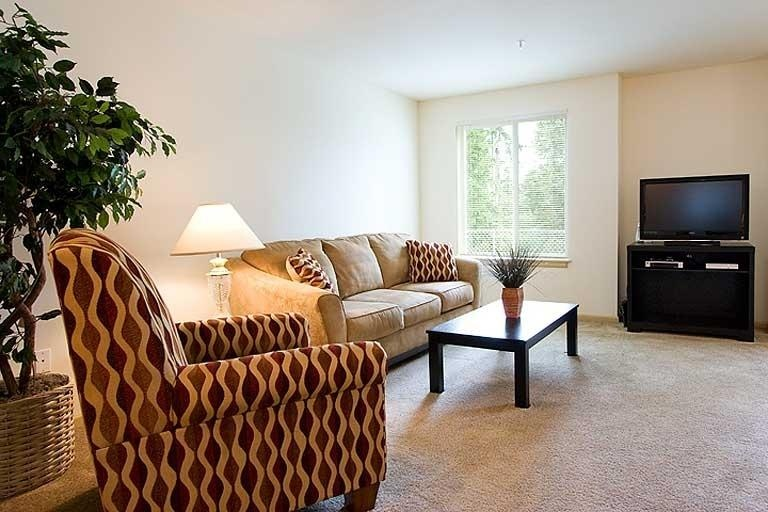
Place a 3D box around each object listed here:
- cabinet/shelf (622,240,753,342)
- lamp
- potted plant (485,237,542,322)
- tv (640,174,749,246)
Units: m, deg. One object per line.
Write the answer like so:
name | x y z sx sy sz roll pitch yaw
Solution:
cabinet/shelf | 3.223 0.338 5.764 1.657 1.375 0.881 0 0 28
lamp | -1.342 0.059 4.123 0.814 0.985 0.778 -4 -2 39
potted plant | 1.327 0.231 5.265 0.827 0.943 0.753 0 2 9
tv | 3.263 -0.475 5.438 0.782 0.570 0.081 0 -1 25
